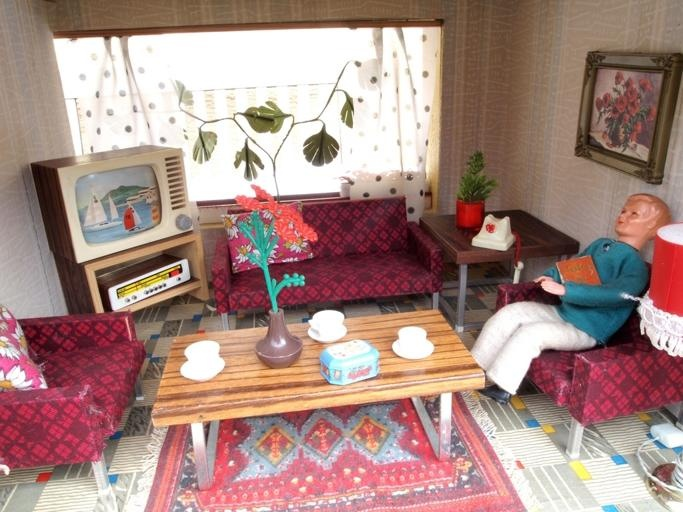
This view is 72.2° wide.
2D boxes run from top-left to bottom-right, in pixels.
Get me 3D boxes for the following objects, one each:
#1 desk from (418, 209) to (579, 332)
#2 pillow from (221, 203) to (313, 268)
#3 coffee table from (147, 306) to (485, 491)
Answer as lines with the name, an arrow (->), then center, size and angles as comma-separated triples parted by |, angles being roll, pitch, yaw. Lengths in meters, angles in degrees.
desk -> 1.211, 0.237, 3.777 | 1.049, 0.611, 1.006 | -7, 27, -12
pillow -> -0.691, -0.117, 3.793 | 0.723, 0.533, 0.190 | -16, 4, -26
coffee table -> -0.121, 0.746, 2.593 | 1.612, 0.598, 0.624 | -5, 25, -7
